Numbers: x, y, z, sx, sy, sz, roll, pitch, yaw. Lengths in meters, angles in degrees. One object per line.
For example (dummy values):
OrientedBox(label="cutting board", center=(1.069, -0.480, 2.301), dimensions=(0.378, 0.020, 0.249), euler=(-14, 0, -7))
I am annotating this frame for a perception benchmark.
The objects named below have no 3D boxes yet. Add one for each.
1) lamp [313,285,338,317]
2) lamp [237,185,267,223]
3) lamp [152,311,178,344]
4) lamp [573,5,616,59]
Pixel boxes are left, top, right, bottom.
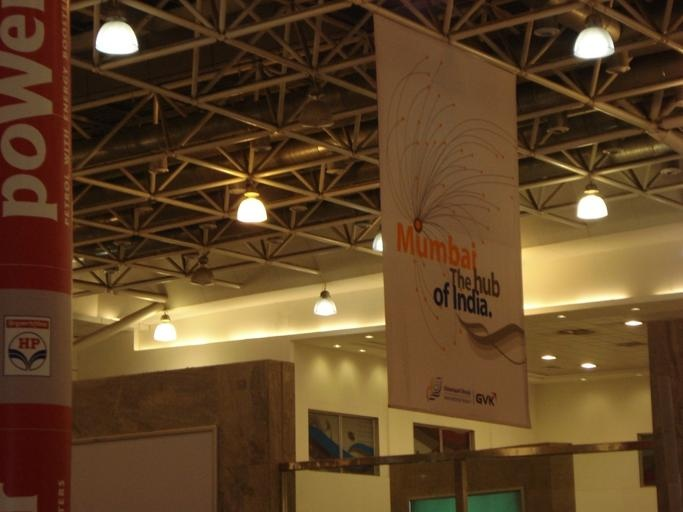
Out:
OrientedBox(label="lamp", center=(-0.284, 0.881, 17.360), dimensions=(0.484, 0.610, 0.522), euler=(2, -4, -11))
OrientedBox(label="lamp", center=(-1.321, -0.770, 12.930), dimensions=(0.447, 0.549, 0.460), euler=(-1, -4, 31))
OrientedBox(label="lamp", center=(-4.011, 1.628, 19.565), dimensions=(0.655, 0.827, 0.718), euler=(0, 1, 0))
OrientedBox(label="lamp", center=(2.570, -2.301, 8.984), dimensions=(0.434, 0.556, 0.469), euler=(2, -4, 2))
